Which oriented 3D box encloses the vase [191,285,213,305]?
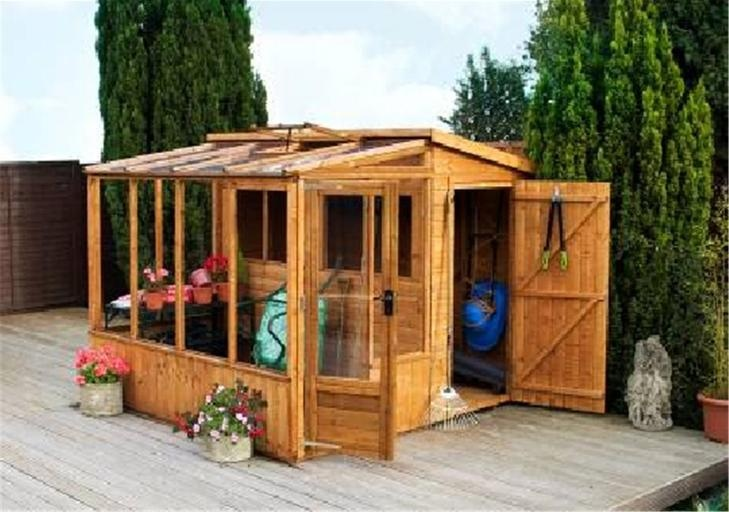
[{"bbox_3d":[-2.178,0.538,10.858,0.222,0.183,0.236,-1,-6,6],"label":"vase"}]

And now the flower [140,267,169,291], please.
[{"bbox_3d":[-2.937,0.339,11.449,0.338,0.336,0.290,-14,-15,35],"label":"flower"}]

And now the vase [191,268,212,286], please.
[{"bbox_3d":[-2.202,0.318,10.928,0.281,0.219,0.143,-2,9,-14],"label":"vase"}]

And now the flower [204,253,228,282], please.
[{"bbox_3d":[-1.989,0.191,10.999,0.321,0.425,0.360,1,-5,-31],"label":"flower"}]

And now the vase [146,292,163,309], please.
[{"bbox_3d":[-2.919,0.630,11.312,0.228,0.245,0.229,3,4,29],"label":"vase"}]

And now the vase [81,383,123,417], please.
[{"bbox_3d":[-3.636,1.963,11.308,0.559,0.461,0.565,-7,4,-37],"label":"vase"}]

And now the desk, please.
[{"bbox_3d":[-2.409,0.993,10.865,1.881,0.910,0.471,0,0,30],"label":"desk"}]

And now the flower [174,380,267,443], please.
[{"bbox_3d":[-1.684,1.917,9.786,0.941,0.715,0.618,9,13,43],"label":"flower"}]

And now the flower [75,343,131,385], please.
[{"bbox_3d":[-3.605,1.538,11.165,0.566,0.471,0.586,1,-2,23],"label":"flower"}]
